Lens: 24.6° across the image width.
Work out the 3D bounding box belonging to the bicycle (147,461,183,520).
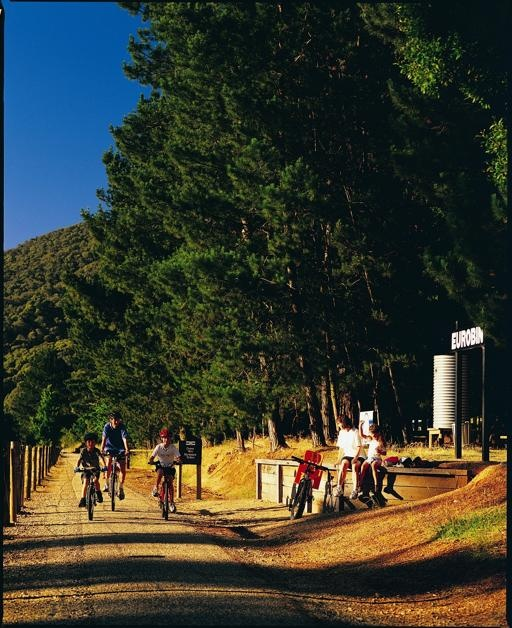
[{"bbox_3d":[-1.913,3.827,24.977,0.454,0.862,1.179,4,-14,-10],"label":"bicycle"}]

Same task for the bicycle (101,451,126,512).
[{"bbox_3d":[-3.040,3.629,25.326,0.496,0.834,1.197,1,-12,-6],"label":"bicycle"}]

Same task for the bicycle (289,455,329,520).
[{"bbox_3d":[0.999,3.873,25.547,0.833,1.364,1.994,16,-8,0],"label":"bicycle"}]

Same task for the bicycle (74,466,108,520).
[{"bbox_3d":[-3.341,3.620,24.101,0.517,1.058,1.432,-4,8,-5],"label":"bicycle"}]

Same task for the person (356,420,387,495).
[{"bbox_3d":[2.379,3.011,23.911,0.510,1.457,1.147,4,-7,7],"label":"person"}]

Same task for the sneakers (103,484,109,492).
[{"bbox_3d":[-3.204,3.755,25.151,0.113,0.201,0.180,-2,-7,7],"label":"sneakers"}]
